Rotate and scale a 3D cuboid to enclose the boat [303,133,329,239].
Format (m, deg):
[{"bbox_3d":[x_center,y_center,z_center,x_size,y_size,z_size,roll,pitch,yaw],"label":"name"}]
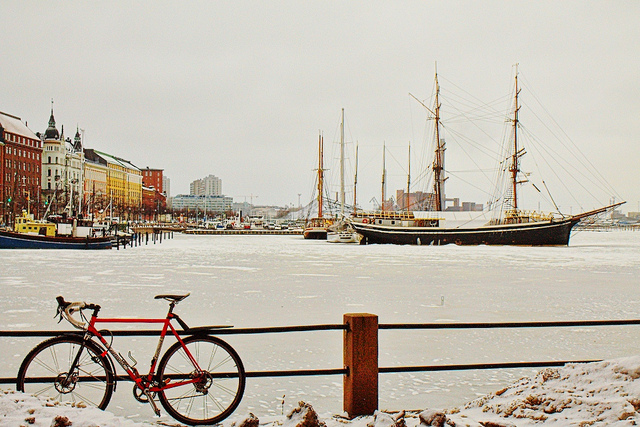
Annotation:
[{"bbox_3d":[-0.120,-3.759,133.418,3.162,16.368,13.941,1,-1,0],"label":"boat"}]

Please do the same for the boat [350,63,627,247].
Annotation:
[{"bbox_3d":[18.384,-3.488,100.257,30.236,17.896,9.478,0,-18,14],"label":"boat"}]

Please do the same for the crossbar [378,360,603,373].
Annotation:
[{"bbox_3d":[4.046,4.096,22.258,5.166,0.281,0.943,1,-4,-6],"label":"crossbar"}]
